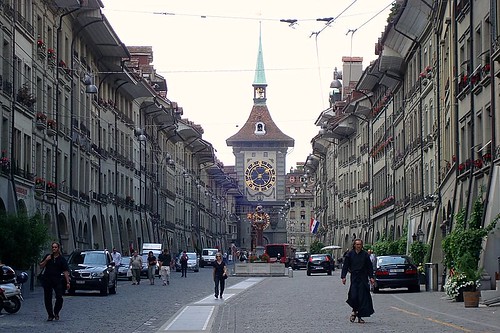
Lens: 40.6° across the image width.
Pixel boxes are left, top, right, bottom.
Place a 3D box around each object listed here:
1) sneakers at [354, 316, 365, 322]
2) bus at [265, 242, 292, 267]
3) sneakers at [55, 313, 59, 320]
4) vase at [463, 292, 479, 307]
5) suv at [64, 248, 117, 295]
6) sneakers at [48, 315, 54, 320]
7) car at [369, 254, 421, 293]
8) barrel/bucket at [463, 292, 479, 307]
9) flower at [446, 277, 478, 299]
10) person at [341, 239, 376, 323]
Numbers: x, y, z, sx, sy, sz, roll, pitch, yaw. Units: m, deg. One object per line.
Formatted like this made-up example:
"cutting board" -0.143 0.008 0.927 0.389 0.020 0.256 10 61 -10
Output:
"sneakers" 3.106 4.401 19.403 0.299 0.222 0.102 -21 -13 40
"bus" 4.339 12.736 102.472 3.547 3.255 5.727 -1 -9 3
"sneakers" -5.763 4.472 20.204 0.147 0.052 0.149 -3 9 -12
"vase" 7.793 4.735 24.183 0.491 0.379 0.499 -8 -12 44
"suv" -7.342 4.880 31.546 2.001 2.318 2.231 1 -16 -5
"sneakers" -5.892 4.491 20.053 0.120 0.140 0.125 -2 -13 5
"car" 7.062 5.182 33.304 2.264 1.809 1.335 1 -15 -5
"barrel/bucket" 7.797 4.750 24.178 0.502 0.391 0.517 0 -8 0
"flower" 8.126 4.648 26.159 0.948 0.683 0.944 0 -7 3
"person" 3.135 3.313 19.903 0.901 2.540 1.224 -3 -15 9
